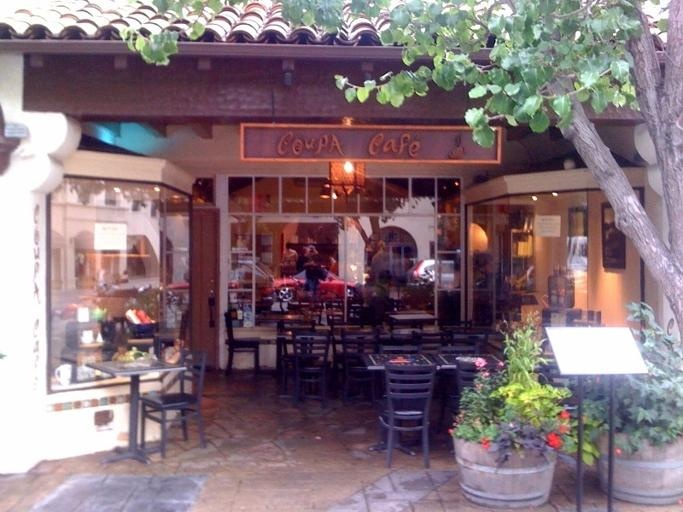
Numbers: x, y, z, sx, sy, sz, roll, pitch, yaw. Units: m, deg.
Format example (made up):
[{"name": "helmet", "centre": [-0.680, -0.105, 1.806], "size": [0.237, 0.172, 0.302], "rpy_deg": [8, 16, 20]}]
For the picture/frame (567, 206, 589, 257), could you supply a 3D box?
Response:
[{"name": "picture/frame", "centre": [3.330, -0.357, 9.484], "size": [0.051, 0.707, 0.320], "rpy_deg": [-3, 0, -40]}]

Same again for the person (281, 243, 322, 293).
[{"name": "person", "centre": [-0.760, 0.187, 12.081], "size": [0.546, 0.847, 0.232], "rpy_deg": [2, 4, -8]}]

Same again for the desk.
[{"name": "desk", "centre": [-2.385, 1.759, 7.877], "size": [0.977, 1.093, 1.055], "rpy_deg": [1, -3, 16]}]

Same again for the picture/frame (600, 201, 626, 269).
[{"name": "picture/frame", "centre": [3.634, -0.269, 9.071], "size": [0.148, 0.950, 0.436], "rpy_deg": [-3, 0, -16]}]
